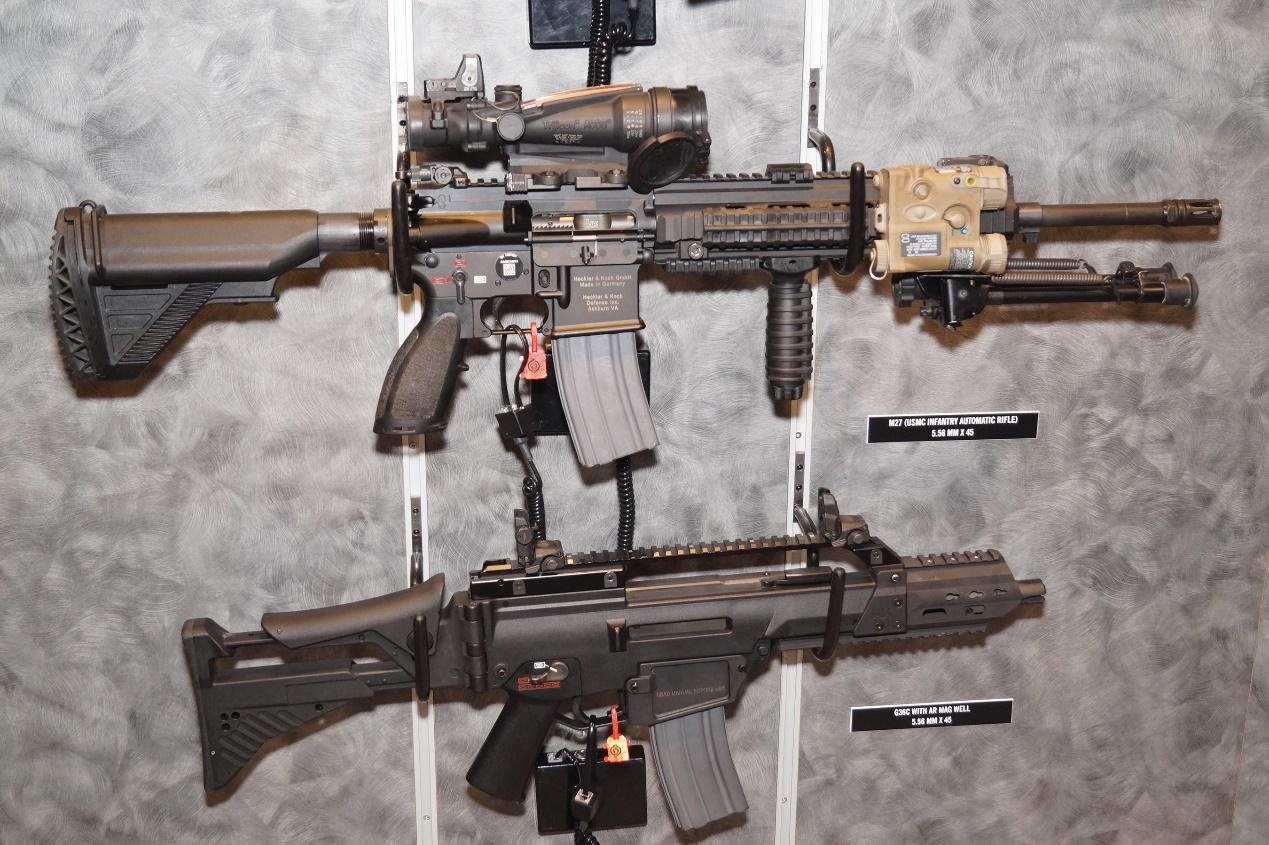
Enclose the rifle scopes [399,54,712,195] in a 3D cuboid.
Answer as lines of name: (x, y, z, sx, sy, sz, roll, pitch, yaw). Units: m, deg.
rifle scopes: (-0.199, -0.761, 3.422, 0.793, 0.373, 0.202, 1, 31, 8)
